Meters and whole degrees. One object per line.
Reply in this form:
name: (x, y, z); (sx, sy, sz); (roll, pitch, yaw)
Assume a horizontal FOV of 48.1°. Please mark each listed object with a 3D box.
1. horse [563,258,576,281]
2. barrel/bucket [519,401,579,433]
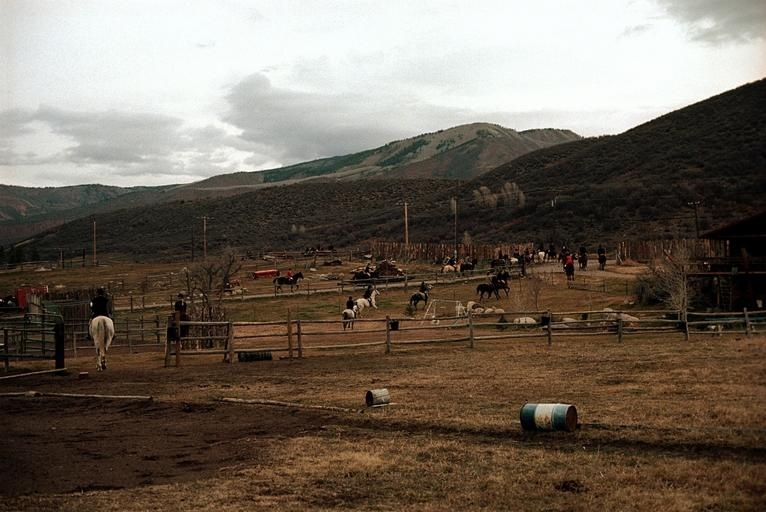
horse: (12.581, 0.836, 58.171); (0.558, 1.721, 1.839); (-1, 5, 16)
barrel/bucket: (5.215, 5.071, 27.109); (1.807, 1.095, 1.122); (-7, -13, 30)
